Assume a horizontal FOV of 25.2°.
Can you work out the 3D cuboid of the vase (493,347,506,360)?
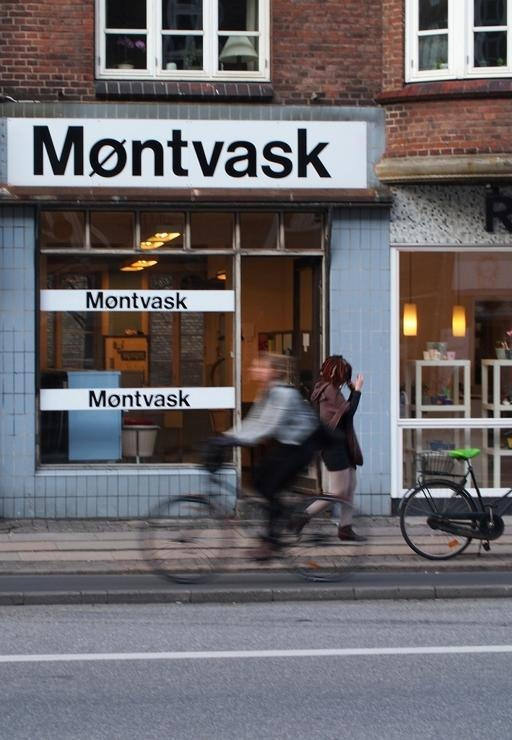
[{"bbox_3d":[2.705,-0.171,12.780,0.108,0.105,0.107,0,1,-14],"label":"vase"}]

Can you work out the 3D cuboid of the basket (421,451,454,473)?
[{"bbox_3d":[1.613,0.835,10.212,0.246,0.203,0.247,0,-4,5],"label":"basket"}]

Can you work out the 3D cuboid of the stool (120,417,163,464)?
[{"bbox_3d":[-1.244,0.748,12.198,0.458,0.437,0.409,1,-10,-4],"label":"stool"}]

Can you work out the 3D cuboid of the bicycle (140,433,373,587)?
[{"bbox_3d":[-0.014,1.121,8.936,1.720,1.232,0.867,2,-11,0],"label":"bicycle"}]

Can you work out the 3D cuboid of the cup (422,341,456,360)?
[{"bbox_3d":[2.005,-0.202,12.633,0.236,0.196,0.202,2,-4,-10],"label":"cup"}]

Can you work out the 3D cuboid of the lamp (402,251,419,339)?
[{"bbox_3d":[1.675,-0.788,12.497,0.196,0.885,0.069,0,1,-14],"label":"lamp"}]

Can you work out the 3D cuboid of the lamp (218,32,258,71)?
[{"bbox_3d":[-0.198,-3.410,12.401,0.358,0.412,0.372,0,-1,14],"label":"lamp"}]

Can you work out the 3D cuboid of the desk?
[{"bbox_3d":[-1.849,0.514,12.093,0.907,1.515,0.710,-1,1,-1],"label":"desk"}]
